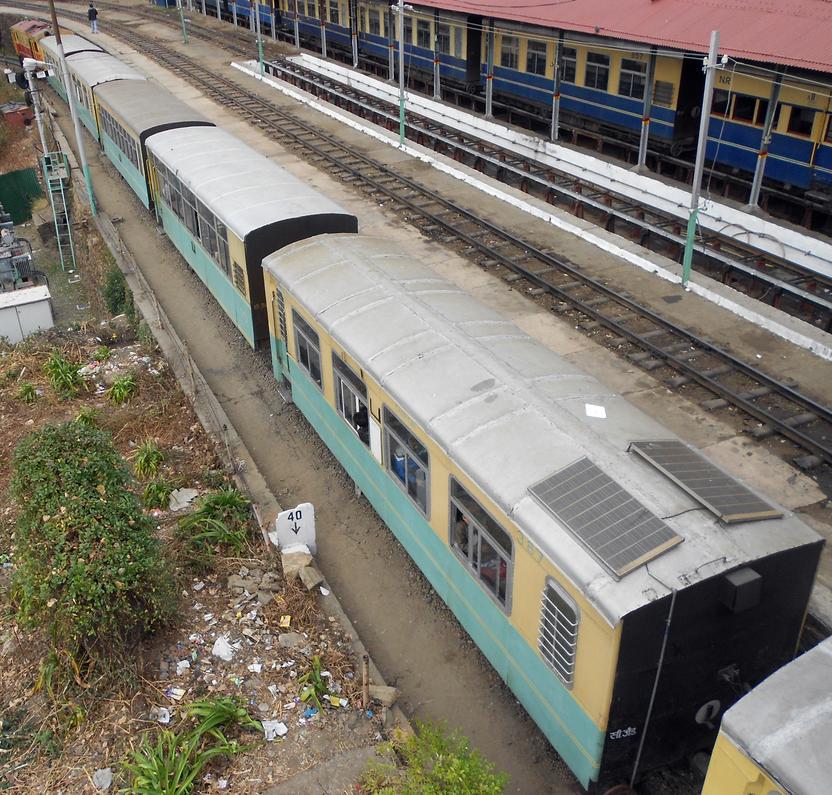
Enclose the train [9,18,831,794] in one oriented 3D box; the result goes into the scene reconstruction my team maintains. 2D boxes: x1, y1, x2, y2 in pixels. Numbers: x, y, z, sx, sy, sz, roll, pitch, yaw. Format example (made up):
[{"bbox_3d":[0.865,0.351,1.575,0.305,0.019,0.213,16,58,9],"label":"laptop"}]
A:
[{"bbox_3d":[0.385,-0.174,7.916,2.459,2.399,8.157,-24,46,-19],"label":"train"}]
